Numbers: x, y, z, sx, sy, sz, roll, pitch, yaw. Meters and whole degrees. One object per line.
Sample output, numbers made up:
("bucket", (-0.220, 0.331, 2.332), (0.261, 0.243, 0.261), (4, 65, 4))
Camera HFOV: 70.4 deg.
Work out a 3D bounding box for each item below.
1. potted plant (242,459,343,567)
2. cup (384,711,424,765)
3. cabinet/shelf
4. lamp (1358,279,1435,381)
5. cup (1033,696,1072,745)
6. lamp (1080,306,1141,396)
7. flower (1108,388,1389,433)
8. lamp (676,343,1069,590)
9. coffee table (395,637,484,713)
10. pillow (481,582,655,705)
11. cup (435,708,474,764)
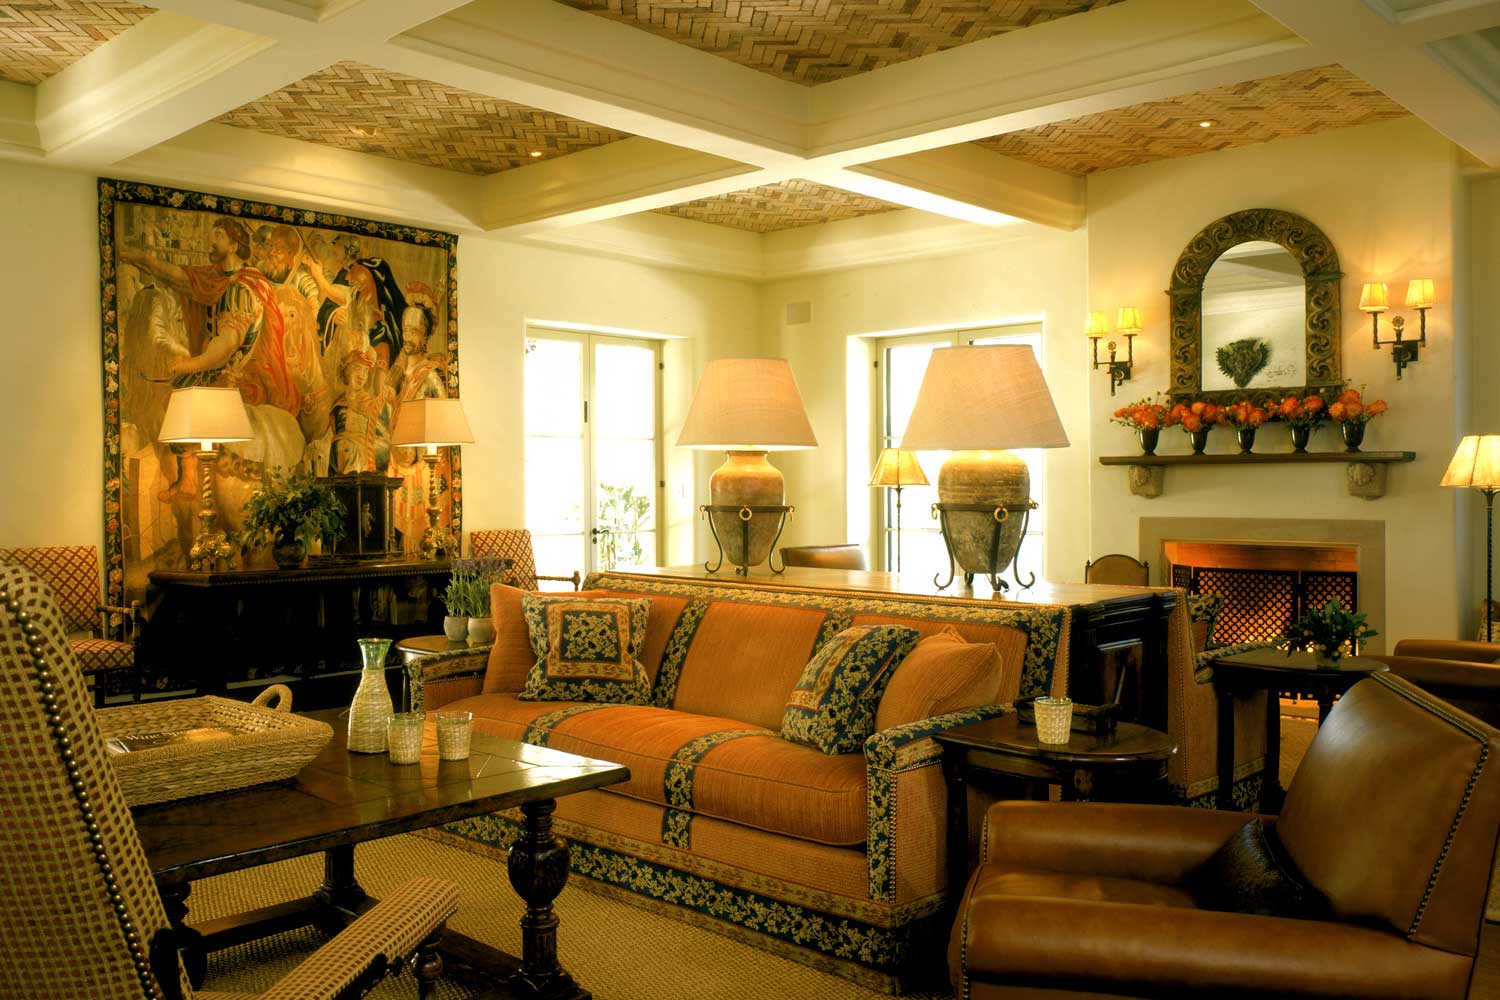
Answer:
("potted plant", (-3.165, 0.139, 7.339), (0.640, 0.546, 0.593), (-4, 5, -36))
("cup", (-1.143, 0.787, 3.514), (0.156, 0.159, 0.149), (2, 1, 0))
("cabinet/shelf", (-2.954, 0.866, 6.695), (0.353, 0.619, 1.174), (-4, -3, 41))
("lamp", (4.386, -1.168, 7.183), (0.421, 0.677, 0.218), (-1, 1, 30))
("cup", (1.060, 0.796, 3.821), (0.165, 0.141, 0.144), (-1, 1, -23))
("lamp", (2.834, -1.141, 8.299), (0.455, 0.640, 0.305), (-1, 1, 35))
("flower", (3.596, -0.645, 7.670), (1.665, 0.282, 0.467), (-1, 1, 41))
("lamp", (0.570, -0.156, 5.058), (1.818, 1.130, 0.526), (-1, 1, 36))
("coffee table", (-1.677, 0.910, 5.612), (0.336, 0.419, 0.472), (0, -1, 37))
("pillow", (-0.902, 0.741, 5.287), (0.623, 0.401, 0.209), (1, 3, 14))
("cup", (-1.000, 0.813, 3.677), (0.164, 0.166, 0.158), (1, 2, 0))
